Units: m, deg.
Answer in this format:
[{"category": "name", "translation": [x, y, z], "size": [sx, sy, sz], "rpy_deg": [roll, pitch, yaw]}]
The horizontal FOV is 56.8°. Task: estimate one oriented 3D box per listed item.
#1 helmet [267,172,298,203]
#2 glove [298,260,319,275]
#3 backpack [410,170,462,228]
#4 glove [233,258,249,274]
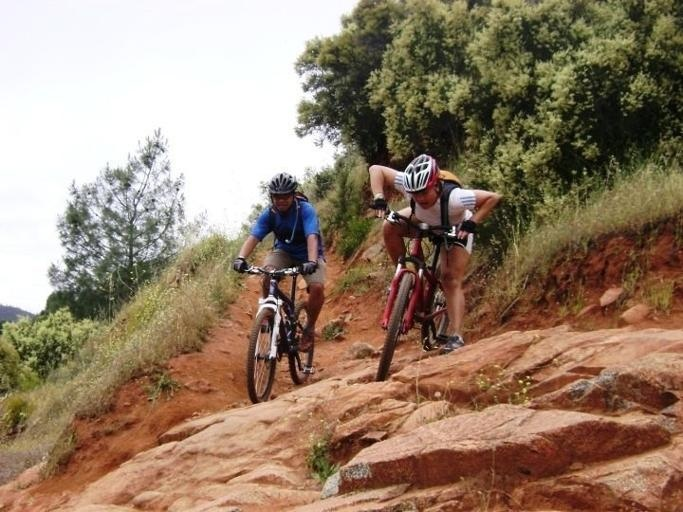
[{"category": "helmet", "translation": [-0.886, -1.023, 9.447], "size": [0.418, 0.395, 0.405], "rpy_deg": [-4, -4, -6]}, {"category": "glove", "translation": [-0.486, 0.168, 9.308], "size": [0.250, 0.195, 0.462], "rpy_deg": [-5, -5, 2]}, {"category": "backpack", "translation": [1.425, -0.705, 8.529], "size": [0.536, 0.651, 0.425], "rpy_deg": [14, 9, 27]}, {"category": "glove", "translation": [-1.506, 0.132, 9.355], "size": [0.207, 0.228, 0.284], "rpy_deg": [-4, -4, -12]}]
